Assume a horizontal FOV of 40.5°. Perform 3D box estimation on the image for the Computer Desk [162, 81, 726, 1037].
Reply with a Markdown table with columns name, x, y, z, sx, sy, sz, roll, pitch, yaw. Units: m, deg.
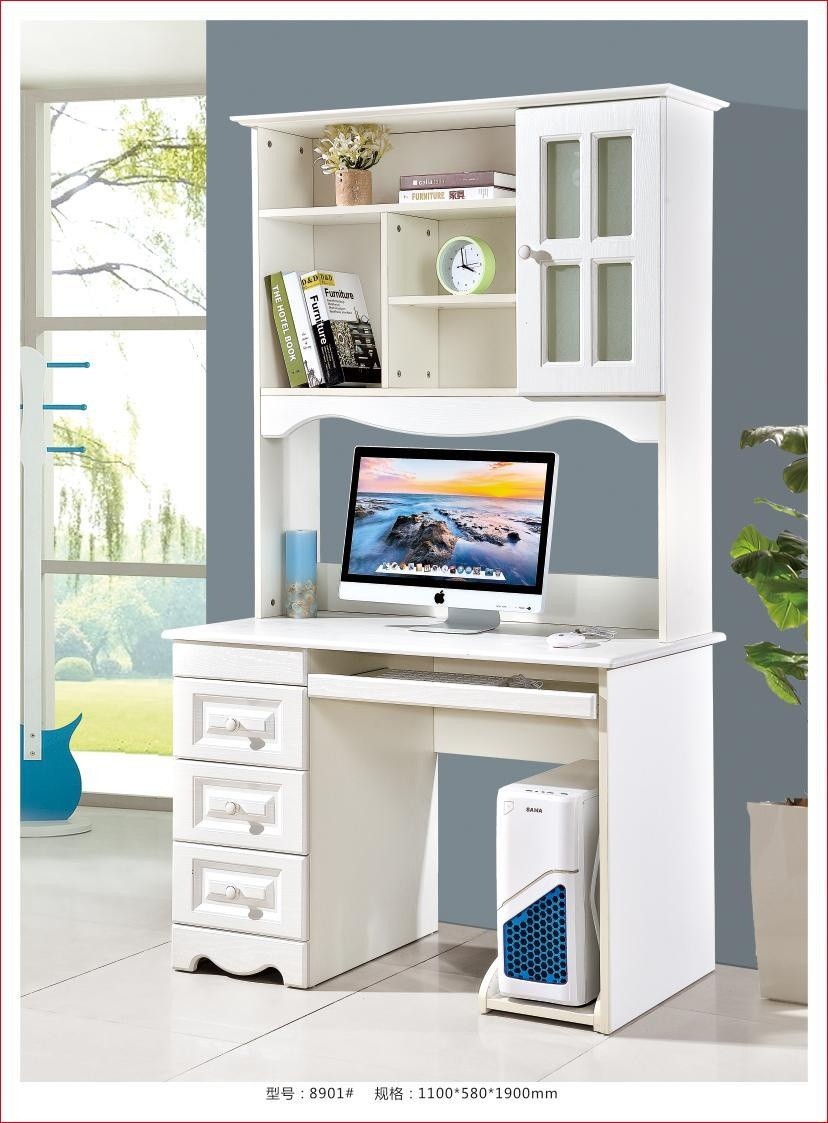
| name | x | y | z | sx | sy | sz | roll | pitch | yaw |
| --- | --- | --- | --- | --- | --- | --- | --- | --- | --- |
| Computer Desk | 0.091 | -0.013 | 2.543 | 1.136 | 1.951 | 0.730 | 3 | 7 | 27 |

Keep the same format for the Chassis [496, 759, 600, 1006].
| name | x | y | z | sx | sy | sz | roll | pitch | yaw |
| --- | --- | --- | --- | --- | --- | --- | --- | --- | --- |
| Chassis | 0.262 | 0.663 | 2.214 | 0.202 | 0.436 | 0.123 | -1 | -1 | 4 |

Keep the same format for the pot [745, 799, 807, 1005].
| name | x | y | z | sx | sy | sz | roll | pitch | yaw |
| --- | --- | --- | --- | --- | --- | --- | --- | --- | --- |
| pot | 0.759 | 0.715 | 2.338 | 0.116 | 0.412 | 0.044 | -2 | -2 | 28 |

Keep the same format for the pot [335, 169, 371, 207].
| name | x | y | z | sx | sy | sz | roll | pitch | yaw |
| --- | --- | --- | --- | --- | --- | --- | --- | --- | --- |
| pot | -0.144 | -0.893 | 2.676 | 0.100 | 0.083 | 0.099 | 0 | 3 | 0 |
